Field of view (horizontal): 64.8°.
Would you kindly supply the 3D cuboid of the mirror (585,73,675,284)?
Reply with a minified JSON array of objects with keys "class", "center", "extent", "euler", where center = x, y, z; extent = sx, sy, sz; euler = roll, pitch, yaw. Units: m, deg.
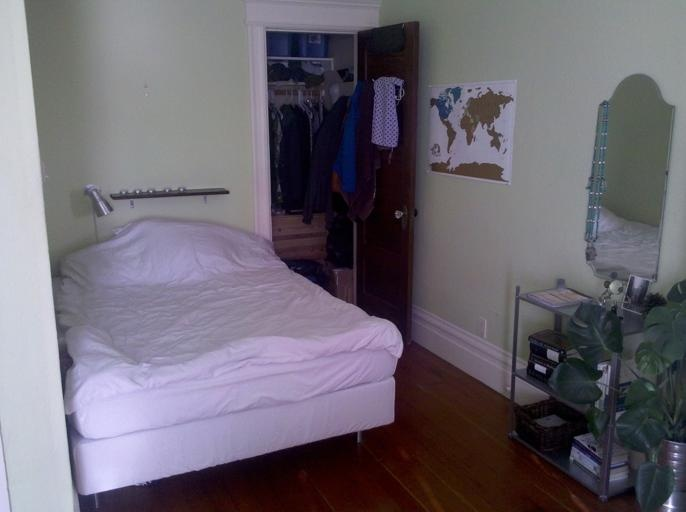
[{"class":"mirror","center":[1.474,-0.386,2.789],"extent":[0.112,1.057,0.445],"euler":[-8,18,-23]}]

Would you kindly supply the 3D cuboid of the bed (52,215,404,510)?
[{"class":"bed","center":[-0.965,0.389,3.735],"extent":[1.988,0.917,2.614],"euler":[-1,13,-20]}]

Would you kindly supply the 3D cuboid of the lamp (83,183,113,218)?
[{"class":"lamp","center":[-1.694,-0.388,3.750],"extent":[0.130,0.231,0.113],"euler":[-23,10,24]}]

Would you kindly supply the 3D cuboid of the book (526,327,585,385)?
[{"class":"book","center":[1.184,0.532,3.078],"extent":[0.216,0.271,0.261],"euler":[-5,13,-22]}]

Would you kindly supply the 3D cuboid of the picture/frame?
[{"class":"picture/frame","center":[0.864,-0.873,3.751],"extent":[0.028,0.650,0.757],"euler":[-14,21,-33]}]

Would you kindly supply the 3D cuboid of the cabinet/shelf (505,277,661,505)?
[{"class":"cabinet/shelf","center":[1.239,0.713,2.761],"extent":[0.400,1.069,0.792],"euler":[-5,16,-21]}]

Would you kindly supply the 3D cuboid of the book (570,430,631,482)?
[{"class":"book","center":[1.329,1.015,2.803],"extent":[0.175,0.085,0.239],"euler":[0,16,-20]}]
